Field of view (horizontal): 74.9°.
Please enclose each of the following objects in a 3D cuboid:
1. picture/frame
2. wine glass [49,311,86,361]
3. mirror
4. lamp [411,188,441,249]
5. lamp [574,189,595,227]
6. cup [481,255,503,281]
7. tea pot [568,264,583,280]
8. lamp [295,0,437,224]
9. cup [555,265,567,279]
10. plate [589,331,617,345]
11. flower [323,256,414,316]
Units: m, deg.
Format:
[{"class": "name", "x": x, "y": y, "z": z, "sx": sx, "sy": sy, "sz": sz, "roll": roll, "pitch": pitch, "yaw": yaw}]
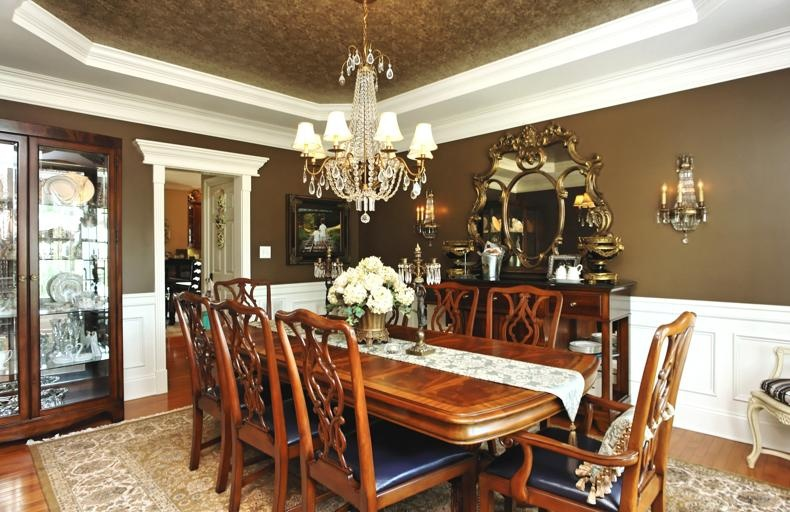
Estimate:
[{"class": "picture/frame", "x": -1.104, "y": -0.385, "z": 7.007, "sx": 0.984, "sy": 0.887, "sz": 0.081, "roll": 3, "pitch": -4, "yaw": -41}, {"class": "wine glass", "x": -3.238, "y": 0.789, "z": 5.049, "sx": 0.382, "sy": 0.566, "sz": 0.354, "roll": 3, "pitch": -5, "yaw": -22}, {"class": "mirror", "x": 1.552, "y": -0.577, "z": 5.760, "sx": 1.921, "sy": 1.747, "sz": 0.136, "roll": -5, "pitch": 10, "yaw": -9}, {"class": "lamp", "x": 0.429, "y": -0.497, "z": 6.411, "sx": 0.294, "sy": 0.649, "sz": 0.300, "roll": -1, "pitch": 3, "yaw": -35}, {"class": "lamp", "x": 2.041, "y": -0.543, "z": 5.555, "sx": 0.180, "sy": 0.276, "sz": 0.145, "roll": -2, "pitch": -5, "yaw": 10}, {"class": "cup", "x": 1.101, "y": 0.139, "z": 5.866, "sx": 0.343, "sy": 0.356, "sz": 0.234, "roll": 0, "pitch": -11, "yaw": 10}, {"class": "tea pot", "x": 1.893, "y": 0.168, "z": 5.338, "sx": 0.187, "sy": 0.189, "sz": 0.127, "roll": -1, "pitch": -1, "yaw": 18}, {"class": "lamp", "x": -0.304, "y": -1.283, "z": 5.294, "sx": 1.398, "sy": 1.925, "sz": 2.131, "roll": -2, "pitch": 1, "yaw": -6}, {"class": "cup", "x": 1.738, "y": 0.172, "z": 5.362, "sx": 0.146, "sy": 0.153, "sz": 0.106, "roll": -1, "pitch": 1, "yaw": -10}, {"class": "plate", "x": 2.121, "y": 0.818, "z": 5.197, "sx": 0.180, "sy": 0.043, "sz": 0.182, "roll": 0, "pitch": 2, "yaw": 7}, {"class": "flower", "x": -0.234, "y": 0.294, "z": 4.414, "sx": 0.602, "sy": 0.549, "sz": 0.665, "roll": 0, "pitch": 7, "yaw": 4}]
